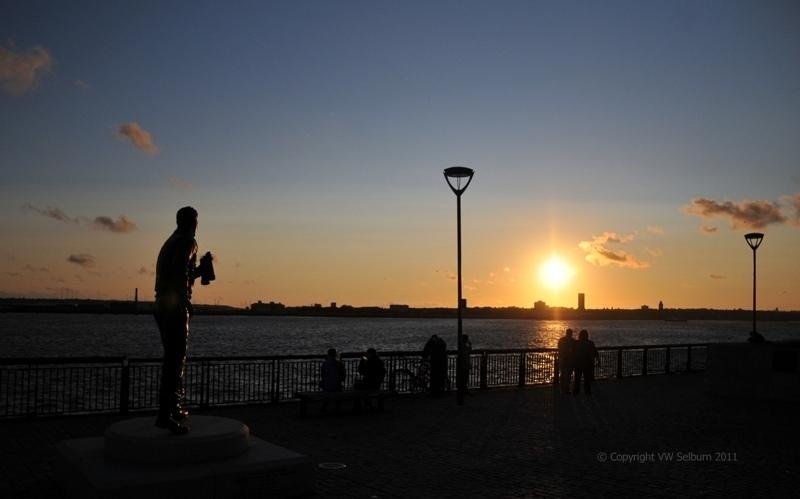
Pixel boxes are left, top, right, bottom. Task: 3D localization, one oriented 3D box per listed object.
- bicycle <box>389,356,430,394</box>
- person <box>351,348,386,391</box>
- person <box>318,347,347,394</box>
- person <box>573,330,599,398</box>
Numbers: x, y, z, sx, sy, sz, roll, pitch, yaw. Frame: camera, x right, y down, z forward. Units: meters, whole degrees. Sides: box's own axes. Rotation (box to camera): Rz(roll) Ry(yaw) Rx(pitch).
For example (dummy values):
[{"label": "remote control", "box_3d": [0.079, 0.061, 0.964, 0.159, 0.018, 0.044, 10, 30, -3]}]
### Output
[{"label": "bicycle", "box_3d": [0.318, 4.618, 25.437, 1.916, 1.319, 0.047, 4, -7, -34]}, {"label": "person", "box_3d": [-1.007, 3.890, 22.710, 0.924, 1.297, 1.514, 3, -8, -4]}, {"label": "person", "box_3d": [-2.201, 3.793, 22.093, 1.039, 1.249, 1.079, 0, 4, 26]}, {"label": "person", "box_3d": [6.677, 4.070, 25.292, 0.544, 2.309, 1.102, -4, -10, 36]}]
